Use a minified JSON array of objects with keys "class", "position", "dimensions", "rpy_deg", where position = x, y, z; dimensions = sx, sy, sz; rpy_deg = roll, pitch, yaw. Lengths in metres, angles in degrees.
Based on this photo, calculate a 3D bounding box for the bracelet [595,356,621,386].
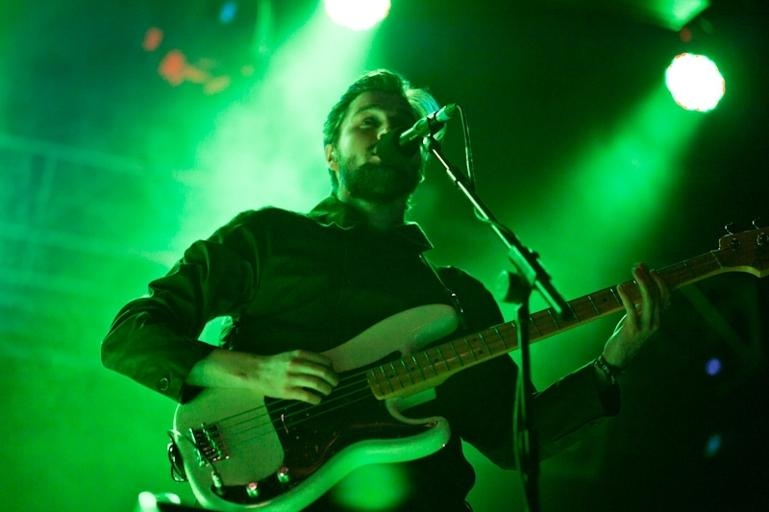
[{"class":"bracelet","position":[1.531,0.784,5.578],"dimensions":[0.093,0.151,0.183],"rpy_deg":[-40,-53,1]}]
